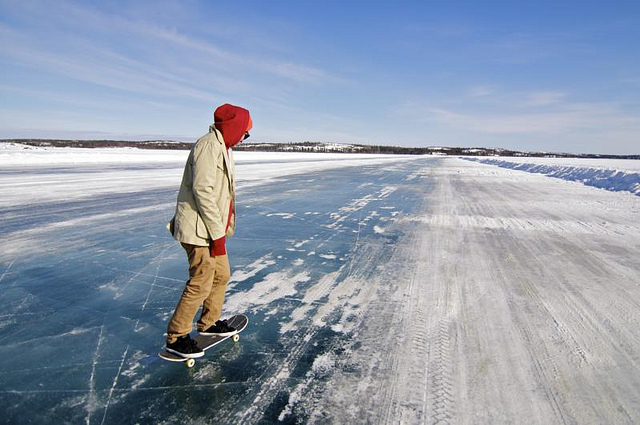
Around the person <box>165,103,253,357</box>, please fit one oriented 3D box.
[{"bbox_3d":[-1.270,0.215,3.795,0.815,2.805,0.952,4,15,-13],"label":"person"}]

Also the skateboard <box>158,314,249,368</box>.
[{"bbox_3d":[-1.223,1.478,4.084,0.333,0.201,1.375,13,11,30],"label":"skateboard"}]
